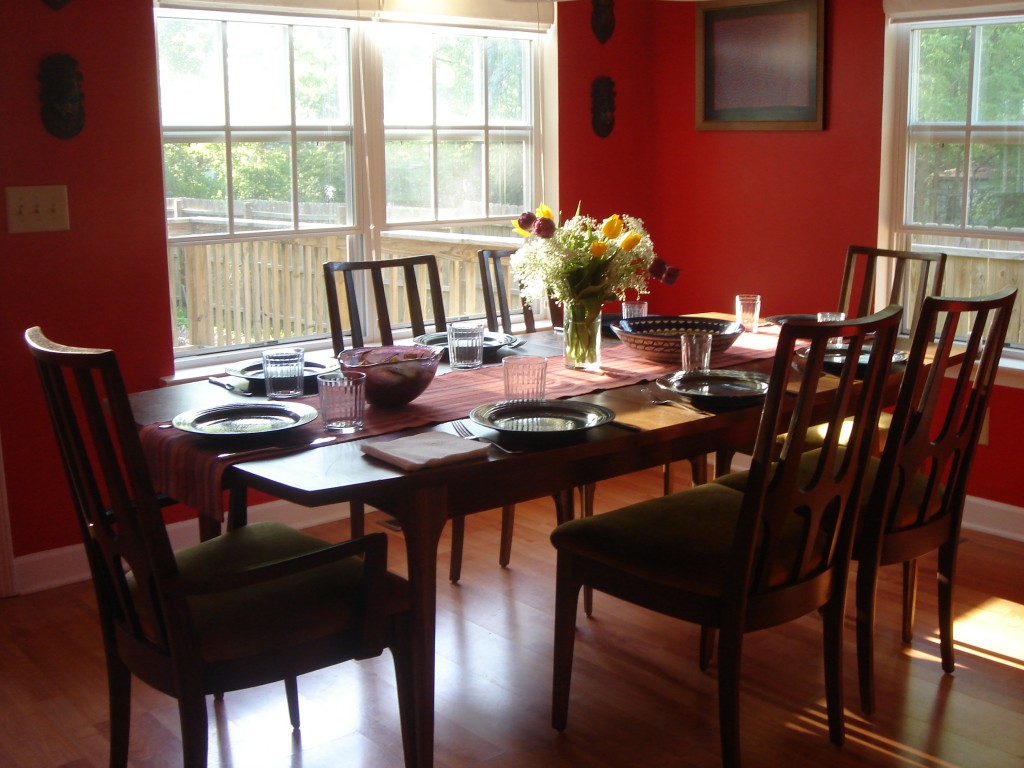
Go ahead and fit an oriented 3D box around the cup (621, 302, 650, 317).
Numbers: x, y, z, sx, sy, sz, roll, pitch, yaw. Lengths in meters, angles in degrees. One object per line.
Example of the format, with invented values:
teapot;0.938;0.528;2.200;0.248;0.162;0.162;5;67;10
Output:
cup;0.486;-0.304;3.179;0.075;0.058;0.077;-3;9;0

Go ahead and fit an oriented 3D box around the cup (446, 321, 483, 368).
cup;-0.149;-0.131;2.736;0.137;0.122;0.111;-1;10;-11

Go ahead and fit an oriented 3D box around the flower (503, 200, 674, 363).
flower;0.260;-0.349;2.786;0.528;0.551;0.554;-3;16;-14

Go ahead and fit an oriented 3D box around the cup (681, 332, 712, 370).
cup;0.549;-0.103;2.461;0.102;0.116;0.099;0;10;0

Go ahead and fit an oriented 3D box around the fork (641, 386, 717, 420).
fork;0.441;0.030;2.309;0.051;0.061;0.400;-13;13;-20

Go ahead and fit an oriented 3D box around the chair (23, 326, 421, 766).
chair;-0.629;0.403;1.821;0.788;1.055;0.418;-5;16;-9

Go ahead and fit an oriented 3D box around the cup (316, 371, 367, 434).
cup;-0.432;0.041;2.140;0.141;0.157;0.130;1;9;0

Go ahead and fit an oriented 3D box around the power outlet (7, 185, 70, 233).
power outlet;-1.760;-0.651;3.053;0.044;0.181;0.193;11;14;43

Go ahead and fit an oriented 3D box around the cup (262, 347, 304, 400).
cup;-0.629;-0.035;2.339;0.124;0.141;0.125;0;9;0

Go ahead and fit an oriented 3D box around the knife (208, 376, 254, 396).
knife;-0.824;0.006;2.423;0.030;0.020;0.179;-8;13;-36

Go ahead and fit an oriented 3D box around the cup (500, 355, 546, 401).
cup;0.037;-0.021;2.296;0.115;0.104;0.110;0;8;0
